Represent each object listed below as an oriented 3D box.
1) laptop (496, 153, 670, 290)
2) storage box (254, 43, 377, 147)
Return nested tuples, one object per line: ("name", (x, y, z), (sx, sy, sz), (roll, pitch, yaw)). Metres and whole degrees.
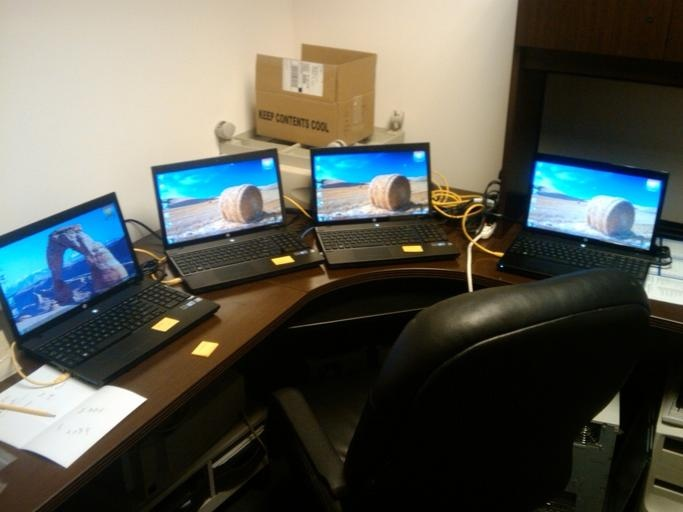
("laptop", (0.806, -0.017, 1.737), (0.543, 0.321, 0.480), (16, 41, 18))
("storage box", (-0.083, -0.669, 2.218), (0.462, 0.370, 0.453), (12, 27, 21))
